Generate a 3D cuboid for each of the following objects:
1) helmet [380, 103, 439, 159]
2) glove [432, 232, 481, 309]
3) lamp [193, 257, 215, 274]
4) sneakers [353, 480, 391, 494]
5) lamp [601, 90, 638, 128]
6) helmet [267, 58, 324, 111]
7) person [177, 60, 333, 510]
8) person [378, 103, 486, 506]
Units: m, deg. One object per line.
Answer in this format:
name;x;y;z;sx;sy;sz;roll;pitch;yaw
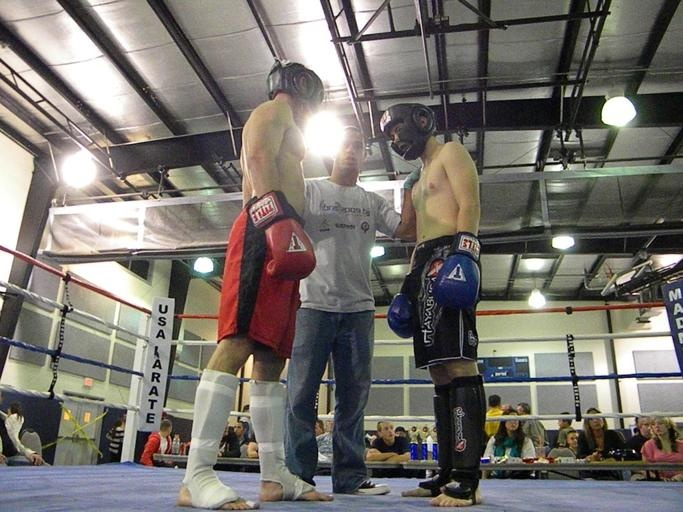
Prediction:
helmet;0.339;-0.691;2.671;0.347;0.308;0.292;-1;-19;0
glove;0.527;0.084;2.134;0.202;0.347;0.130;2;-32;22
lamp;-2.485;0.198;8.511;0.370;0.266;0.374;-18;-20;35
sneakers;0.144;1.170;2.399;0.141;0.053;0.084;-11;-22;22
lamp;3.582;-1.953;6.097;0.402;0.398;0.398;-16;17;-11
helmet;-0.220;-0.837;2.393;0.282;0.226;0.217;-2;-6;-23
person;-0.342;0.006;2.095;0.554;2.002;0.610;2;-23;-2
person;0.483;0.121;2.378;0.492;2.028;0.587;-6;-23;15
